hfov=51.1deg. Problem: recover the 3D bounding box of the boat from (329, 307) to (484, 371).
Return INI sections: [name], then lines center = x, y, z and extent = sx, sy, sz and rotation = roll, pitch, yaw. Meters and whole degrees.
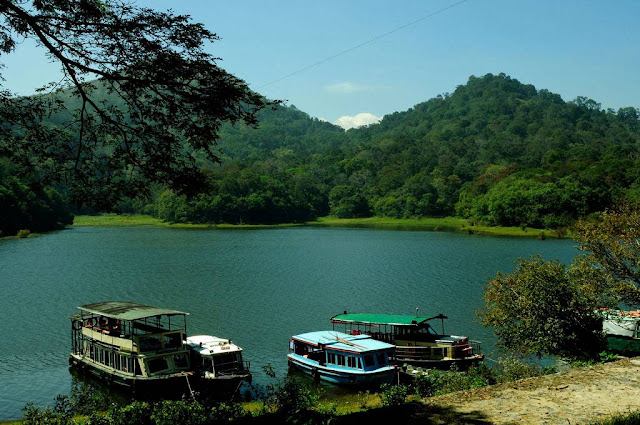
[boat]
center = 8.769, 13.635, 68.455
extent = 13.315, 4.455, 6.397
rotation = -3, -3, 40
